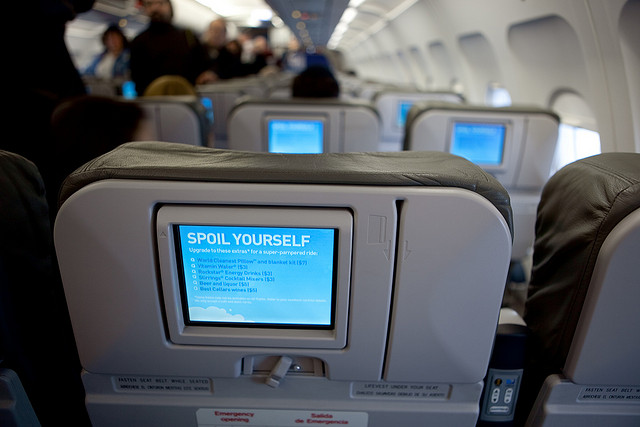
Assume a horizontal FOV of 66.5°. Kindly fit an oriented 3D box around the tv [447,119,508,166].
[{"bbox_3d":[1.240,-0.516,3.804,0.640,0.465,0.070,-3,18,-20],"label":"tv"}]

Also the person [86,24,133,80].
[{"bbox_3d":[-3.676,-2.851,8.656,0.778,0.975,0.508,8,-6,-10],"label":"person"}]

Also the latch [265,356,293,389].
[{"bbox_3d":[-0.168,0.639,1.958,0.050,0.158,0.104,31,6,-11],"label":"latch"}]

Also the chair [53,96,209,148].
[{"bbox_3d":[-1.421,-0.670,3.569,0.668,0.466,0.355,2,19,-5],"label":"chair"}]

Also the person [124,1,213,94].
[{"bbox_3d":[-1.920,-1.973,6.083,0.653,0.985,1.828,-3,11,-5],"label":"person"}]
